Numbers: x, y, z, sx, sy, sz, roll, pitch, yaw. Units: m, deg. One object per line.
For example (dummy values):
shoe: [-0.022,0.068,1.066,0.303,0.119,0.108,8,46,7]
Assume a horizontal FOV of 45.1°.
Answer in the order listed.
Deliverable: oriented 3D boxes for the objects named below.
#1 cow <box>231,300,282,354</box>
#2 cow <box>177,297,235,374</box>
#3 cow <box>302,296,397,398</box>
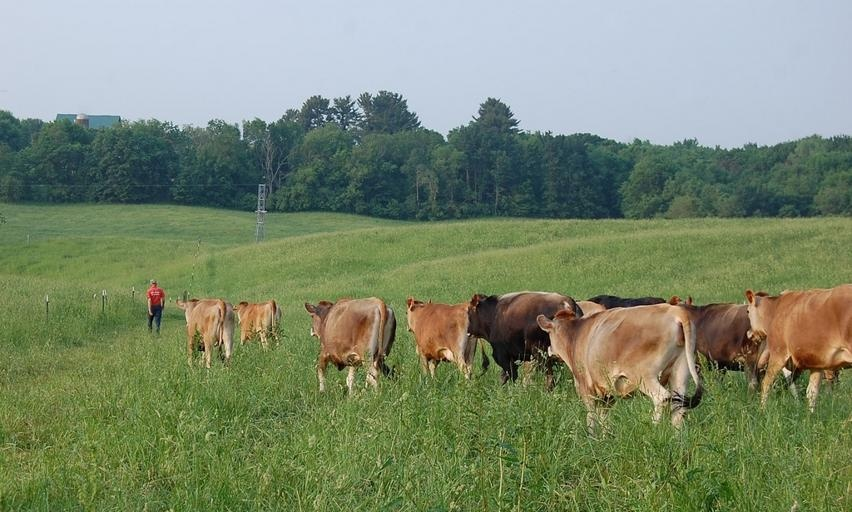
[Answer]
cow: [-14.551,5.783,89.699,1.931,4.038,5.277,-2,4,-44]
cow: [-18.376,6.356,86.757,4.725,5.409,2.231,3,3,25]
cow: [-5.888,7.108,83.877,6.291,7.448,1.816,2,3,15]
